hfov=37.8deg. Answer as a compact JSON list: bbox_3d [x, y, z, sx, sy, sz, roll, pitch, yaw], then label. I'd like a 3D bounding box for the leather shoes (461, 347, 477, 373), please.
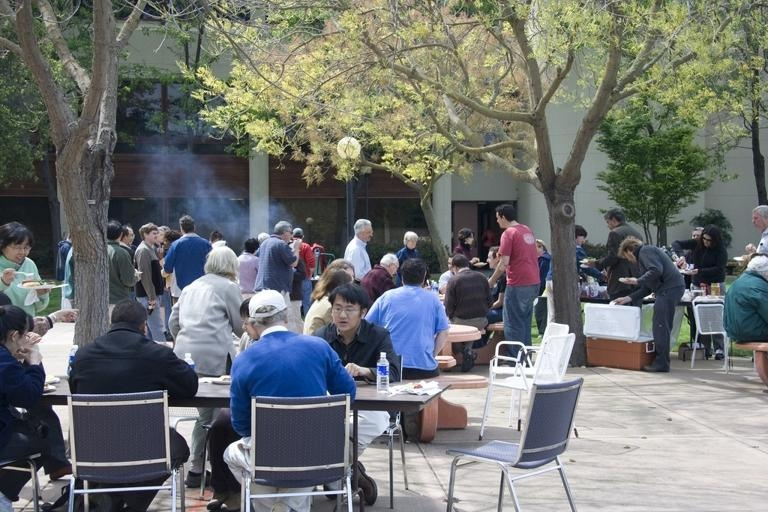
[{"bbox_3d":[1.523,1.824,20.128,0.245,0.495,0.184,16,36,14],"label":"leather shoes"}]

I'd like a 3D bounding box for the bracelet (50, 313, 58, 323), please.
[{"bbox_3d":[-4.765,0.888,16.127,0.099,0.135,0.130,-16,16,-33],"label":"bracelet"}]

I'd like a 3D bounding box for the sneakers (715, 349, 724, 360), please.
[{"bbox_3d":[6.417,1.880,21.411,0.177,0.227,0.501,-4,-9,24],"label":"sneakers"}]

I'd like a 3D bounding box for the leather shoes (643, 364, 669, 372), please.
[{"bbox_3d":[4.957,2.020,20.429,0.429,0.185,0.158,2,-4,15],"label":"leather shoes"}]

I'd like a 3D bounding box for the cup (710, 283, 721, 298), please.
[{"bbox_3d":[6.522,0.682,22.019,0.252,0.245,0.181,1,5,3],"label":"cup"}]

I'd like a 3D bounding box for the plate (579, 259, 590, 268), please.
[{"bbox_3d":[3.869,0.140,21.665,0.162,0.083,0.213,0,-5,2],"label":"plate"}]

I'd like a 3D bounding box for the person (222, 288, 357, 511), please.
[{"bbox_3d":[-1.323,1.922,14.785,1.515,2.907,0.612,1,1,-9],"label":"person"}]

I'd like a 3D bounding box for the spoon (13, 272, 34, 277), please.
[{"bbox_3d":[-5.389,0.286,16.792,0.089,0.072,0.421,-1,-6,42],"label":"spoon"}]

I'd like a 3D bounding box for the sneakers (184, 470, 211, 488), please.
[{"bbox_3d":[-2.612,3.194,16.118,0.506,0.199,0.175,1,0,-42],"label":"sneakers"}]
